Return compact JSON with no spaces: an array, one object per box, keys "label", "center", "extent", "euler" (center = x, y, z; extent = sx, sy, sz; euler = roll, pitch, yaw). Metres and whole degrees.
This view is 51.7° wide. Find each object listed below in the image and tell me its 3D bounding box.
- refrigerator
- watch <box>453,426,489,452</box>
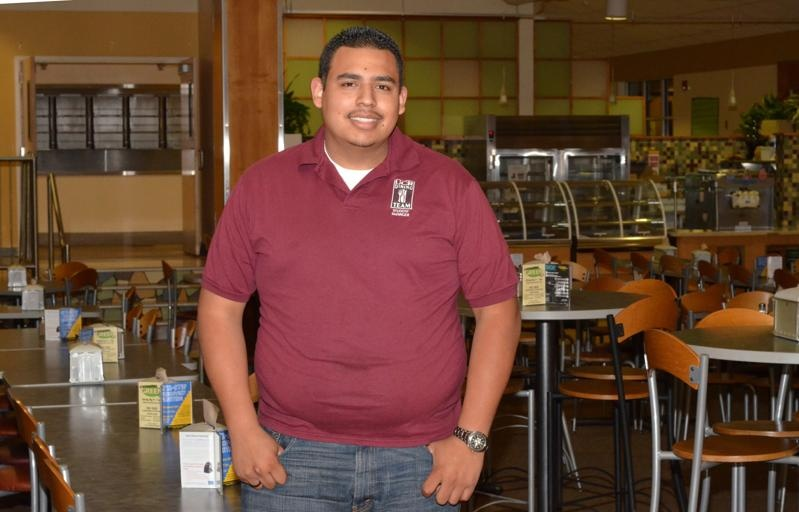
[{"label":"refrigerator","center":[2.572,-1.129,12.970],"extent":[2.214,1.997,0.794],"euler":[3,13,17]},{"label":"watch","center":[0.237,0.630,2.897],"extent":[0.118,0.067,0.113],"euler":[28,-14,-15]}]
